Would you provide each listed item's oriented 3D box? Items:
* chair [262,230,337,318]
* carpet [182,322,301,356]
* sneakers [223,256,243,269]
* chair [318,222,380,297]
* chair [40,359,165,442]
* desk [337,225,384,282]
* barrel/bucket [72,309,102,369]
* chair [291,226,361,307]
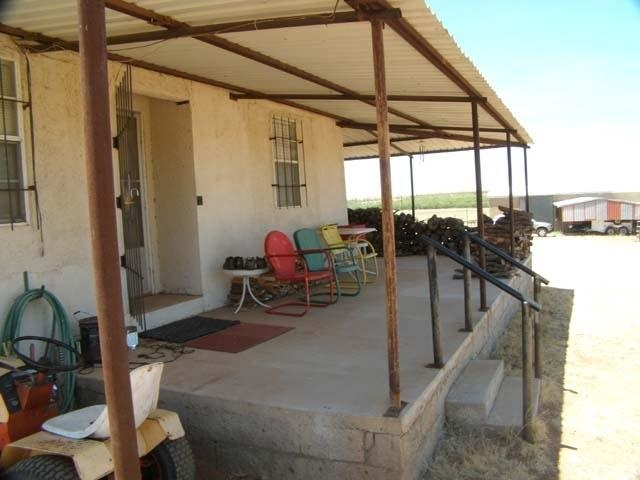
[{"bbox_3d":[-0.257,0.385,6.427,0.935,0.902,0.889,3,6,-1],"label":"chair"},{"bbox_3d":[-0.814,0.979,5.238,0.708,0.021,0.962,2,8,33],"label":"carpet"},{"bbox_3d":[-1.042,0.274,6.266,0.194,0.119,0.178,-1,-5,15],"label":"sneakers"},{"bbox_3d":[0.501,0.225,8.023,0.824,0.968,0.629,-1,13,14],"label":"chair"},{"bbox_3d":[-1.304,0.924,3.128,0.731,0.468,0.419,0,8,18],"label":"chair"},{"bbox_3d":[0.650,0.208,8.787,0.563,0.702,0.428,7,12,25],"label":"desk"},{"bbox_3d":[-2.098,0.874,4.714,0.285,0.439,0.266,-1,-3,0],"label":"barrel/bucket"},{"bbox_3d":[0.112,0.294,7.041,0.776,0.891,0.711,-1,6,43],"label":"chair"}]
